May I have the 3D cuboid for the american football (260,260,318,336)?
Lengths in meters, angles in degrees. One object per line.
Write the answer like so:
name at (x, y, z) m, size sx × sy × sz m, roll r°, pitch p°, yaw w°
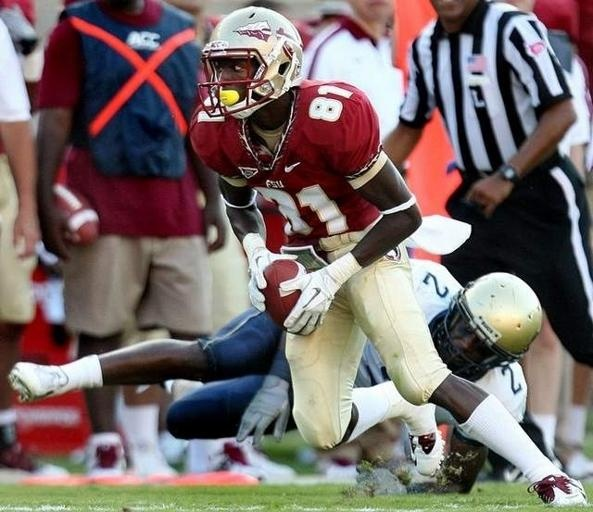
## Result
american football at (-0.023, 0.133, 2.919) m, size 0.118 × 0.209 × 0.163 m, roll 14°, pitch 17°, yaw 16°

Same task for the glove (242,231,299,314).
glove at (-0.102, 0.051, 3.038) m, size 0.165 × 0.081 × 0.266 m, roll -26°, pitch 44°, yaw 14°

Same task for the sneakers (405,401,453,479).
sneakers at (0.511, 0.679, 3.296) m, size 0.109 × 0.322 × 0.133 m, roll -4°, pitch 6°, yaw 0°

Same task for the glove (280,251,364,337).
glove at (0.068, 0.140, 2.844) m, size 0.109 × 0.095 × 0.235 m, roll 22°, pitch 32°, yaw 8°

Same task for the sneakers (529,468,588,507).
sneakers at (0.828, 0.729, 2.748) m, size 0.149 × 0.066 × 0.088 m, roll -2°, pitch 23°, yaw 44°

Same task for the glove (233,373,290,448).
glove at (-0.110, 0.582, 3.124) m, size 0.118 × 0.082 × 0.307 m, roll 14°, pitch 41°, yaw 15°

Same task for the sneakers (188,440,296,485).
sneakers at (-0.283, 1.065, 4.562) m, size 0.573 × 0.223 × 0.188 m, roll 1°, pitch 2°, yaw 6°

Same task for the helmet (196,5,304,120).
helmet at (-0.143, -0.620, 2.837) m, size 0.326 × 0.353 × 0.303 m, roll 6°, pitch 16°, yaw -2°

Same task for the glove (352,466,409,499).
glove at (0.328, 0.882, 3.378) m, size 0.132 × 0.074 × 0.136 m, roll 1°, pitch 4°, yaw 11°

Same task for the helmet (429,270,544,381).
helmet at (0.711, 0.272, 3.320) m, size 0.337 × 0.403 × 0.452 m, roll 23°, pitch -4°, yaw -2°
